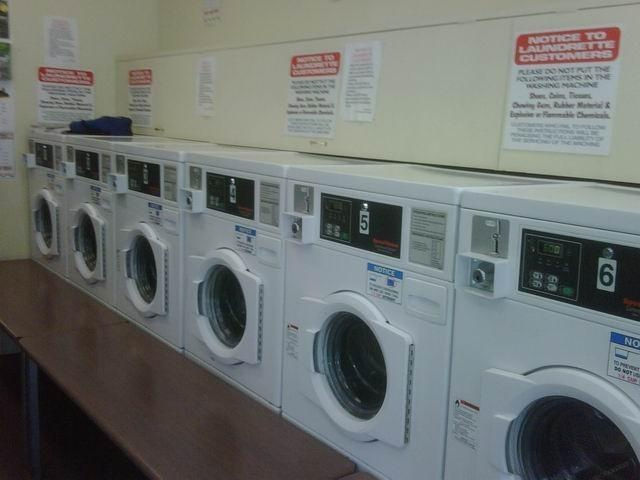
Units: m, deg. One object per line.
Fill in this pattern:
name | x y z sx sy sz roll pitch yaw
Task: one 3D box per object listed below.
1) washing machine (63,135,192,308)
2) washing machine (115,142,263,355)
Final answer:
washing machine | -1.595 -0.260 4.052 1.102 1.676 1.098 -7 15 -41
washing machine | -0.973 -0.135 3.530 1.033 1.704 1.121 -7 14 -43
